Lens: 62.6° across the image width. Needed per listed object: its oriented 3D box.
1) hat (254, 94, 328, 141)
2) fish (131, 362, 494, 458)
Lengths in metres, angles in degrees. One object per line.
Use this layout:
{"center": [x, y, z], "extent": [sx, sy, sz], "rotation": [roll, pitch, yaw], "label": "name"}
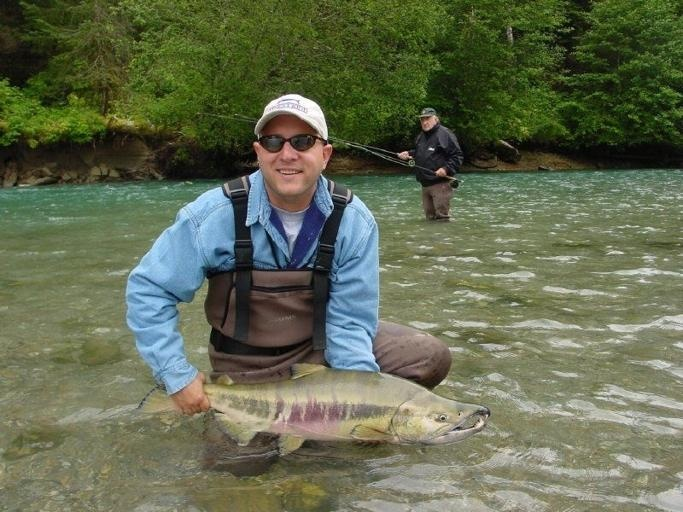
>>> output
{"center": [-0.289, -0.786, 3.152], "extent": [0.393, 0.270, 0.277], "rotation": [-3, 10, -4], "label": "hat"}
{"center": [-0.189, 0.865, 3.097], "extent": [2.478, 0.444, 0.323], "rotation": [3, 37, 7], "label": "fish"}
